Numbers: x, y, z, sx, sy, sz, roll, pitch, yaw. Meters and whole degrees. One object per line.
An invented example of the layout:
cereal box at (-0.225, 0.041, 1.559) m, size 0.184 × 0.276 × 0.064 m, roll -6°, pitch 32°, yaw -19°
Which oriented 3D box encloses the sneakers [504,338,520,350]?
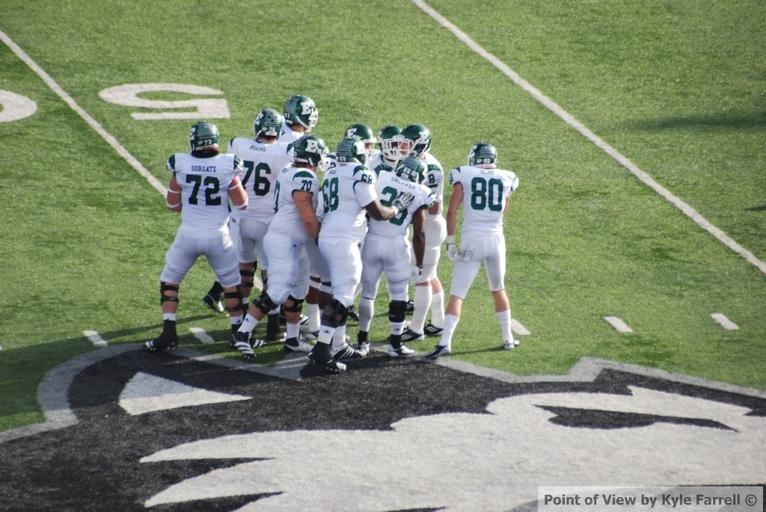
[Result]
sneakers at (1.942, 1.358, 19.776) m, size 0.300 × 0.102 × 0.107 m, roll -14°, pitch 109°, yaw -45°

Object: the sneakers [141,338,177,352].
sneakers at (-3.288, 1.342, 19.177) m, size 0.442 × 0.187 × 0.174 m, roll 7°, pitch 111°, yaw -7°

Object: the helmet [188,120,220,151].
helmet at (-2.561, -1.785, 19.153) m, size 0.541 × 0.386 × 0.385 m, roll 7°, pitch 103°, yaw 13°

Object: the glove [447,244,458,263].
glove at (1.038, -0.059, 19.665) m, size 0.198 × 0.119 × 0.218 m, roll -2°, pitch 100°, yaw 0°

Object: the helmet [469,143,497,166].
helmet at (1.534, -1.549, 19.828) m, size 0.351 × 0.415 × 0.310 m, roll 2°, pitch 106°, yaw -9°
